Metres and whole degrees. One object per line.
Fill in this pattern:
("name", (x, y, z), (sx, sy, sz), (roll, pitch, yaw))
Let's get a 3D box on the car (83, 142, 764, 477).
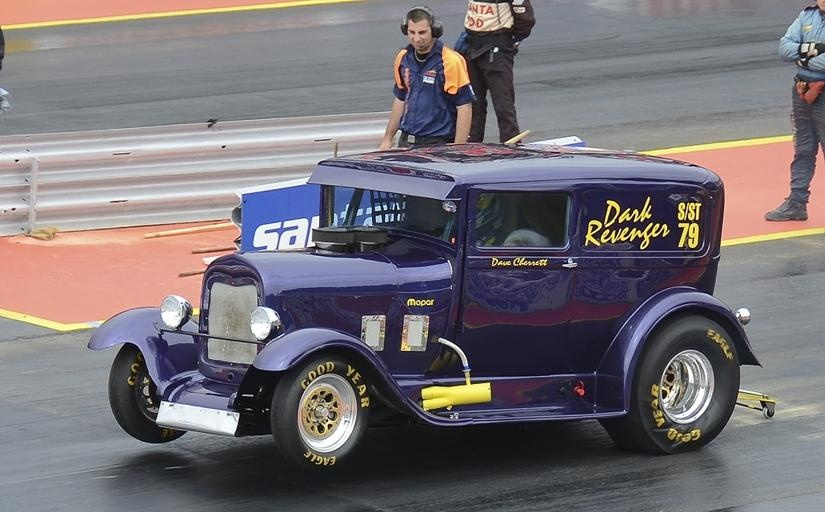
("car", (0.385, 0.479, 12.269), (5.439, 2.672, 1.747), (-5, 18, -13))
